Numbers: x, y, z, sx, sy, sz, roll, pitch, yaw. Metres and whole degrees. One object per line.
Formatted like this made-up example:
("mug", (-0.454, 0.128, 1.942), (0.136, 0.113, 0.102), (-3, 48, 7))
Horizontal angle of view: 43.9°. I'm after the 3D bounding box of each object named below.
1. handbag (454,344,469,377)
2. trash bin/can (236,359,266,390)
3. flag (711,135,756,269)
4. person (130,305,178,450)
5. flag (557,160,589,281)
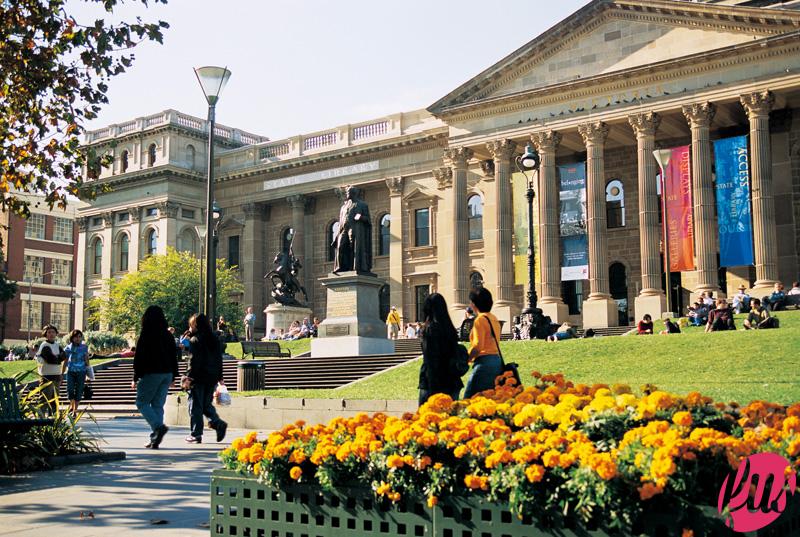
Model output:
("handbag", (0.947, 1.404, 15.441), (0.159, 0.422, 0.348), (-3, -6, -6))
("trash bin/can", (-4.505, 3.169, 29.504), (0.872, 0.854, 0.879), (-4, -8, 22))
("flag", (14.260, -2.961, 42.527), (1.486, 5.607, 1.389), (-5, -7, 17))
("person", (-4.755, 2.077, 19.199), (1.140, 2.410, 0.909), (0, -1, 34))
("flag", (8.240, -2.293, 46.868), (0.657, 5.548, 1.646), (3, -9, -44))
